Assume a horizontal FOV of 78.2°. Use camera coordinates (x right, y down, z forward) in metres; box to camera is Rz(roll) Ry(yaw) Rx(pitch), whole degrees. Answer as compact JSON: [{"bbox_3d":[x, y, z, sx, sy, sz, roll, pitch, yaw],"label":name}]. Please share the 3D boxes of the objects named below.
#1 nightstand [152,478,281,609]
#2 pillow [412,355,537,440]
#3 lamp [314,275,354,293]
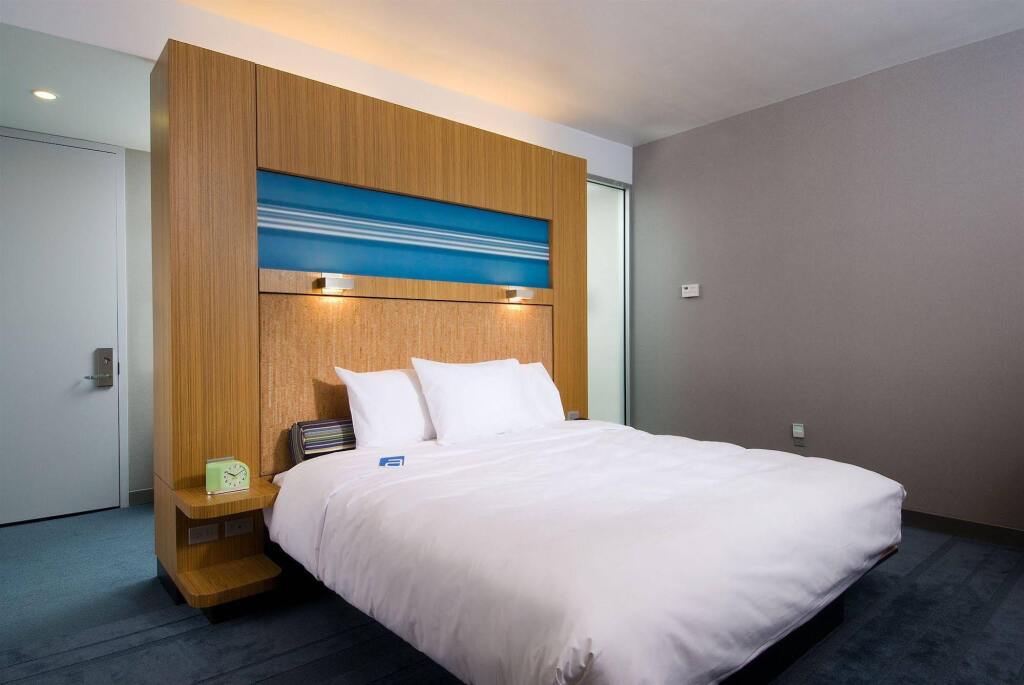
[{"bbox_3d":[-1.823,1.191,4.014,0.577,0.646,0.853,0,0,-44],"label":"nightstand"},{"bbox_3d":[-0.177,0.302,4.253,0.698,0.610,0.184,-1,-23,-36],"label":"pillow"},{"bbox_3d":[-1.225,-0.409,4.338,0.282,0.123,0.113,-5,14,-22],"label":"lamp"}]
